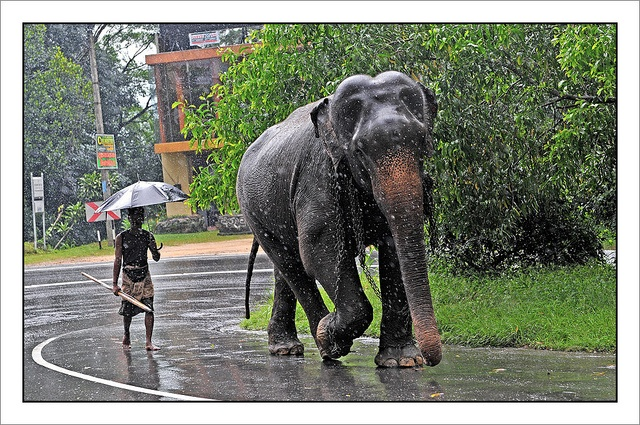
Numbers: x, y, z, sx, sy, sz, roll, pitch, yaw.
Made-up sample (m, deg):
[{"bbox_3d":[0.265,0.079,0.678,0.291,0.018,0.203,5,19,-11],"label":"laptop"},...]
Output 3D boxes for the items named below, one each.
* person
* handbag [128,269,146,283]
[{"bbox_3d":[-2.884,1.032,11.784,0.765,2.235,1.035,-6,4,-13],"label":"person"},{"bbox_3d":[-2.832,0.952,11.521,0.196,0.124,0.236,8,-20,-40],"label":"handbag"}]
